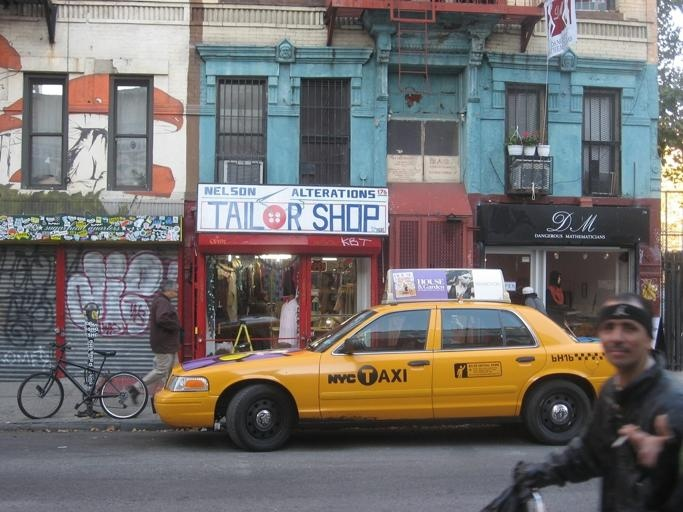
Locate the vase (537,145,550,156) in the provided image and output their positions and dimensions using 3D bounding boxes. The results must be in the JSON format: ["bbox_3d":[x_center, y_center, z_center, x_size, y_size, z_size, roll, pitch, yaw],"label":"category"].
[{"bbox_3d":[4.495,-2.363,27.687,0.230,0.198,0.250,0,2,4],"label":"vase"}]

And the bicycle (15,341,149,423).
[{"bbox_3d":[-5.004,2.587,24.282,2.497,1.670,1.328,3,-23,-9],"label":"bicycle"}]

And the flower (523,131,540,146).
[{"bbox_3d":[4.189,-2.649,27.719,0.321,0.255,0.378,1,8,-3],"label":"flower"}]

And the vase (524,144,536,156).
[{"bbox_3d":[4.161,-2.365,27.522,0.192,0.178,0.225,1,-6,0],"label":"vase"}]

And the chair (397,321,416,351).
[{"bbox_3d":[1.139,1.401,22.141,0.461,0.472,0.267,1,-15,-6],"label":"chair"}]

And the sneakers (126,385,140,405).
[{"bbox_3d":[-3.981,2.545,23.555,0.252,0.438,0.143,-9,6,2],"label":"sneakers"}]

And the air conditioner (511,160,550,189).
[{"bbox_3d":[4.171,-1.832,27.466,0.922,0.793,0.548,1,3,0],"label":"air conditioner"}]

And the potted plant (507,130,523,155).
[{"bbox_3d":[3.859,-2.508,27.588,0.327,0.598,0.283,0,-2,-8],"label":"potted plant"}]
